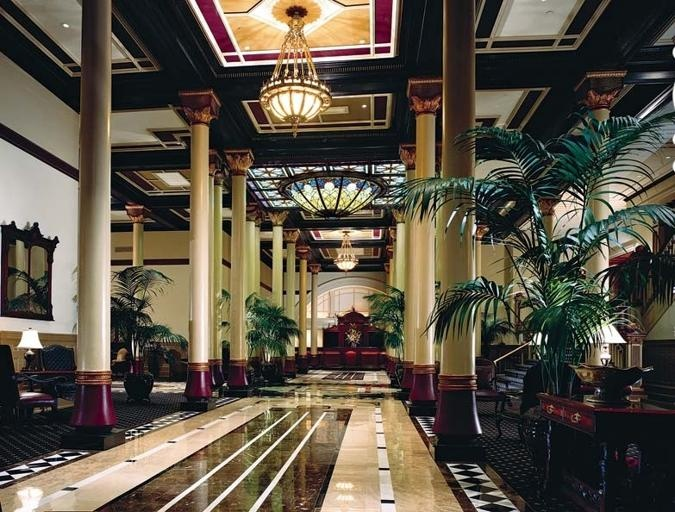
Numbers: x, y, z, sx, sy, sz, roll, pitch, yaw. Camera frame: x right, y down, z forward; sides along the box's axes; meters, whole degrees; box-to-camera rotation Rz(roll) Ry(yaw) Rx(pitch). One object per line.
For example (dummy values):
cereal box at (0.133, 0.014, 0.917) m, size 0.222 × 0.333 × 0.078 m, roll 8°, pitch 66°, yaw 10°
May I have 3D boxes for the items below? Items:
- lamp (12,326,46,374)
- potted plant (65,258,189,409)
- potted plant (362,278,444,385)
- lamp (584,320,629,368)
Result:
lamp at (-5.896, 1.789, 10.667) m, size 0.507 × 0.799 × 0.503 m, roll -7°, pitch -12°, yaw 17°
potted plant at (-4.908, 1.964, 13.714) m, size 2.195 × 3.498 × 2.295 m, roll -6°, pitch 5°, yaw -41°
potted plant at (1.730, 2.395, 16.907) m, size 2.190 × 3.236 × 2.444 m, roll -17°, pitch -2°, yaw 35°
lamp at (3.296, 1.120, 6.904) m, size 0.448 × 0.416 × 0.396 m, roll 27°, pitch -30°, yaw -13°
